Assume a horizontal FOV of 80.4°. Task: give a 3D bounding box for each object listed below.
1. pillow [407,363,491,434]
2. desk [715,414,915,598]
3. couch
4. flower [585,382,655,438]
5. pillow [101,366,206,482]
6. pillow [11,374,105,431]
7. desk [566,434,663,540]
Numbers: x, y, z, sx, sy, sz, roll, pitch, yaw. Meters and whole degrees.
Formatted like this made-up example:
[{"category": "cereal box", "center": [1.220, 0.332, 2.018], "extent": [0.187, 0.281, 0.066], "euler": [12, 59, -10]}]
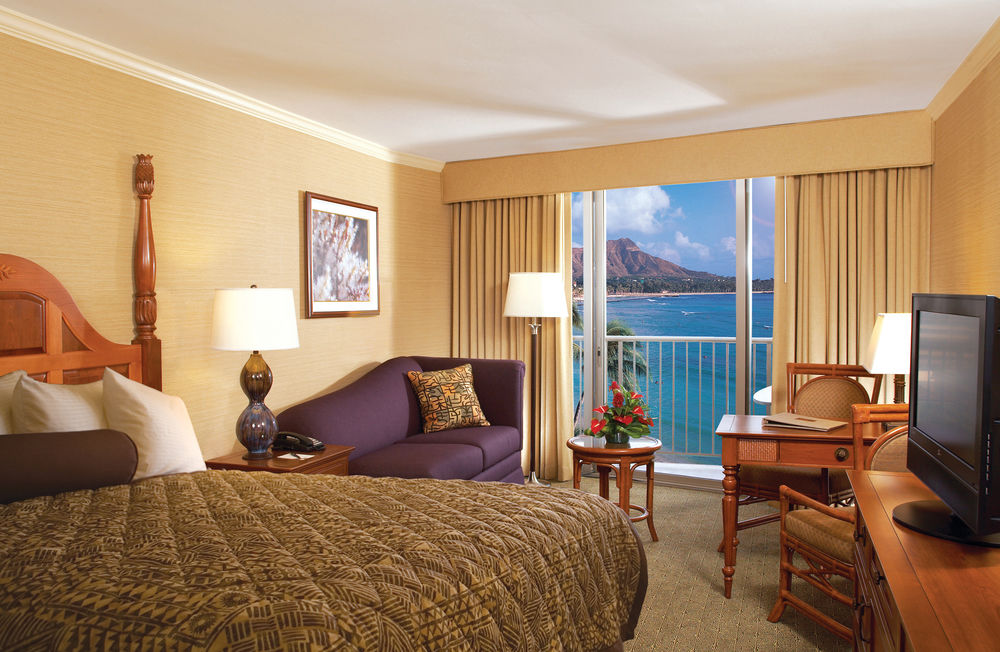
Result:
[{"category": "pillow", "center": [-0.524, 0.670, 5.632], "extent": [0.764, 0.655, 0.209], "euler": [4, -25, -34]}, {"category": "desk", "center": [2.103, 0.962, 4.346], "extent": [1.646, 1.338, 1.252], "euler": [-1, -3, 33]}, {"category": "couch", "center": [-0.722, 1.024, 5.261], "extent": [1.300, 1.260, 2.260], "euler": [2, 2, 17]}, {"category": "flower", "center": [0.951, 0.675, 4.839], "extent": [0.554, 0.338, 0.524], "euler": [-1, 0, 21]}, {"category": "pillow", "center": [-2.000, 0.558, 3.365], "extent": [0.378, 0.549, 0.686], "euler": [-5, -10, 12]}, {"category": "pillow", "center": [-2.369, 0.421, 3.149], "extent": [0.112, 0.193, 0.286], "euler": [-13, -13, 20]}, {"category": "desk", "center": [0.921, 1.243, 4.892], "extent": [0.930, 0.844, 0.840], "euler": [-1, -4, -1]}]
